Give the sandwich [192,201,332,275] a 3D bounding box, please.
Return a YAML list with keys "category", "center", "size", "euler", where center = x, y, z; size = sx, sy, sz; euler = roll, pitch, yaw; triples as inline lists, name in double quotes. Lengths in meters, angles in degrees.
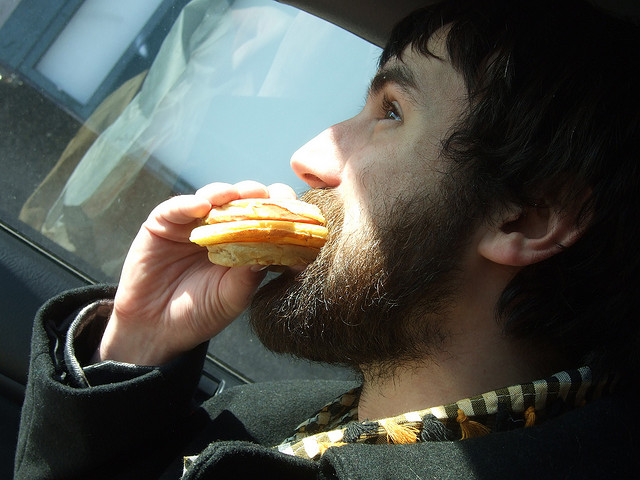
- category: "sandwich"
  center: [-0.194, -0.002, 2.490]
  size: [0.313, 0.197, 0.284]
  euler: [-2, -13, 9]
